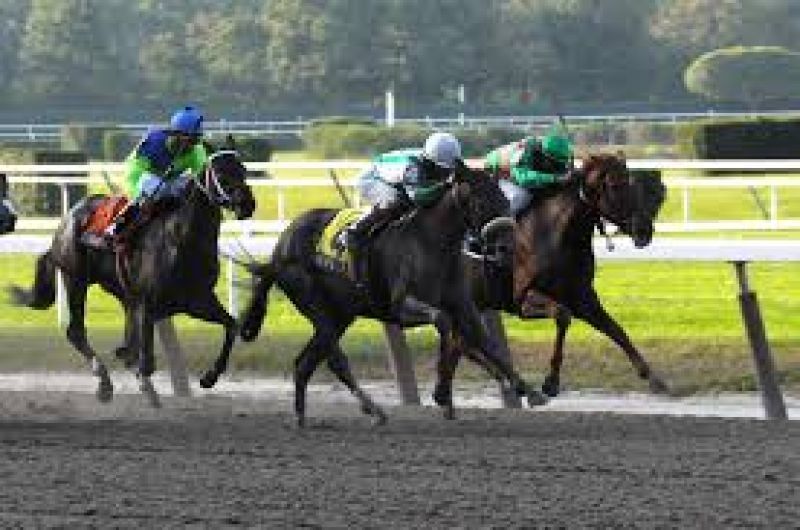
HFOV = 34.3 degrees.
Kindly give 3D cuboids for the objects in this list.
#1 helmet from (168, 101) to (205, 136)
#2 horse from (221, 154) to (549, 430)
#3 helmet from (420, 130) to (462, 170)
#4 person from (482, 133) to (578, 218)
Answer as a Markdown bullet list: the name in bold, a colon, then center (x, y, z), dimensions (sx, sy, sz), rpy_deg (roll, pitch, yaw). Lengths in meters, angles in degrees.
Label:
- **helmet**: center (-1.569, -1.079, 9.658), dimensions (0.257, 0.179, 0.280), rpy_deg (2, 31, -18)
- **horse**: center (0.016, 0.189, 8.883), dimensions (1.767, 1.778, 0.627), rpy_deg (4, 11, 40)
- **helmet**: center (0.309, -0.787, 8.773), dimensions (0.230, 0.260, 0.153), rpy_deg (-22, -18, -15)
- **person**: center (0.987, -0.598, 9.729), dimensions (0.520, 0.623, 1.098), rpy_deg (-5, 6, -30)
